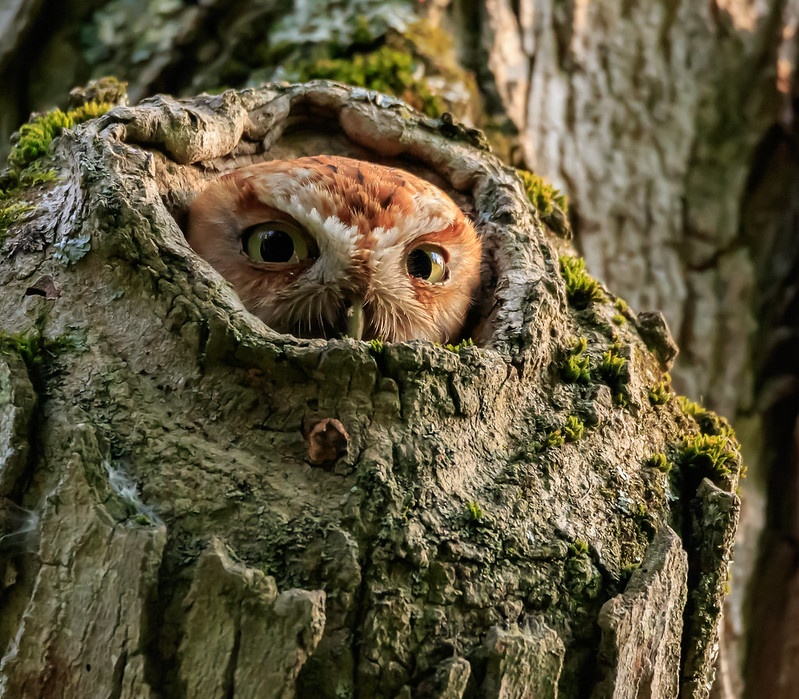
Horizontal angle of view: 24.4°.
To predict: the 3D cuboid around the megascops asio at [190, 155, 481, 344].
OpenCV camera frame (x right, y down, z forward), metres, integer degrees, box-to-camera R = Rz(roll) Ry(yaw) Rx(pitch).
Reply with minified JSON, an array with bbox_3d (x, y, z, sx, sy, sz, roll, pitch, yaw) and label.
[{"bbox_3d":[-0.131,-0.265,5.942,0.842,0.565,0.682,2,-10,-13],"label":"megascops asio"}]
